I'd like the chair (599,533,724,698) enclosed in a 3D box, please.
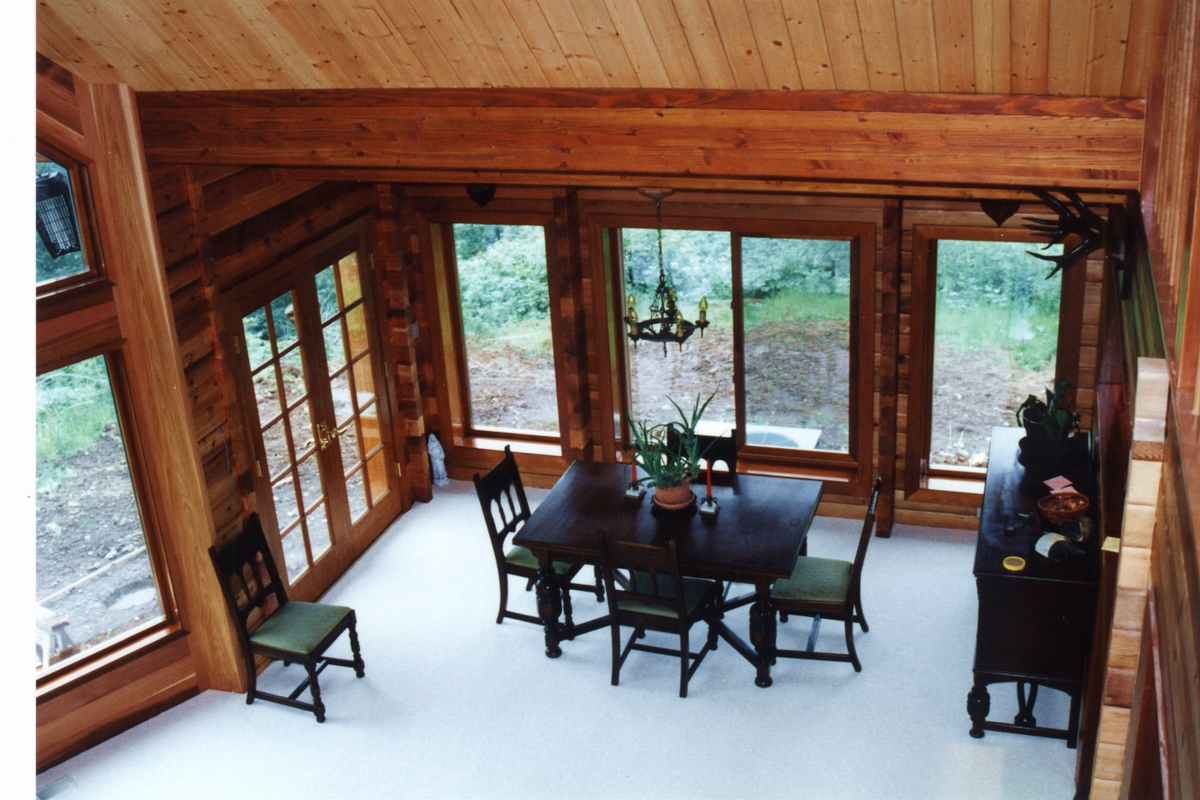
[{"bbox_3d":[0.378,1.341,5.399,0.695,1.108,0.807,5,11,22],"label":"chair"}]

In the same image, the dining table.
[{"bbox_3d":[0.530,0.859,5.440,1.957,0.851,1.428,5,27,16],"label":"dining table"}]

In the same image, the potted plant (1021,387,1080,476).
[{"bbox_3d":[2.947,0.157,5.450,0.445,0.524,0.433,-1,0,22],"label":"potted plant"}]

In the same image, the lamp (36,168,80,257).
[{"bbox_3d":[-3.005,-1.040,4.525,0.058,0.504,0.204,6,12,23],"label":"lamp"}]

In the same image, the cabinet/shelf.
[{"bbox_3d":[2.512,1.133,4.720,0.557,0.834,1.792,8,28,18],"label":"cabinet/shelf"}]

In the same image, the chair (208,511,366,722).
[{"bbox_3d":[-2.066,1.455,5.444,0.864,1.071,0.714,4,14,-2],"label":"chair"}]

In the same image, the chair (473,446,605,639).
[{"bbox_3d":[-0.415,1.058,5.993,0.921,1.106,0.781,1,14,2],"label":"chair"}]

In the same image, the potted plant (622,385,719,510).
[{"bbox_3d":[0.514,0.382,5.699,0.623,0.775,0.439,-14,11,-29],"label":"potted plant"}]

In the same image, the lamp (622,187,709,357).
[{"bbox_3d":[0.423,-0.864,5.536,0.674,1.055,0.618,-2,21,10],"label":"lamp"}]

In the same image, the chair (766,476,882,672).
[{"bbox_3d":[1.495,1.143,5.462,0.627,1.242,0.635,4,11,18],"label":"chair"}]
